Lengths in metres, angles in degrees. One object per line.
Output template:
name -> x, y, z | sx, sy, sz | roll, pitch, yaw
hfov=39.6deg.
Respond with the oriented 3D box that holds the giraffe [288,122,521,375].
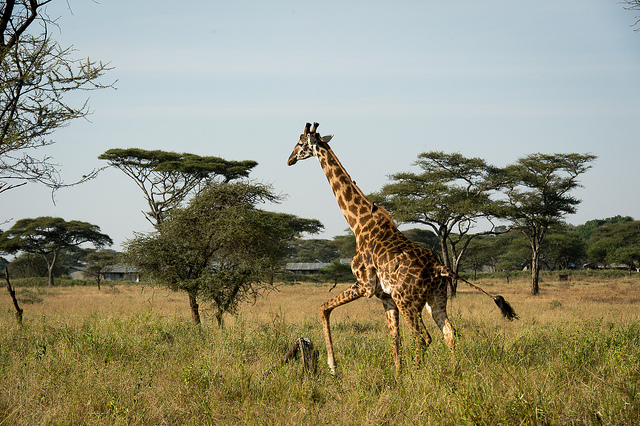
giraffe -> 2.947, 2.037, 33.062 | 5.417, 11.338, 6.884 | -5, -11, 38
